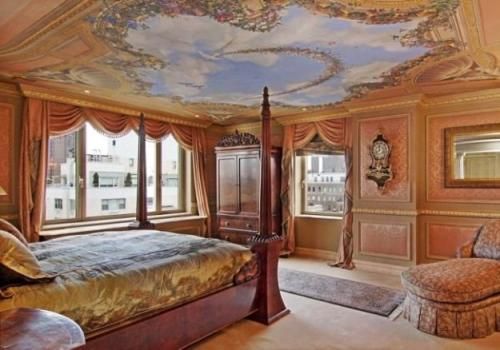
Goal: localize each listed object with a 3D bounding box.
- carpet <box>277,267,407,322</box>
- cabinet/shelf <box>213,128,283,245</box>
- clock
[{"bbox_3d":[1.266,1.687,4.737,1.842,0.042,0.961,2,5,35],"label":"carpet"},{"bbox_3d":[-0.253,0.257,6.583,1.157,2.311,0.396,5,9,43],"label":"cabinet/shelf"},{"bbox_3d":[2.230,-0.204,5.622,0.443,1.041,0.180,2,8,23],"label":"clock"}]
